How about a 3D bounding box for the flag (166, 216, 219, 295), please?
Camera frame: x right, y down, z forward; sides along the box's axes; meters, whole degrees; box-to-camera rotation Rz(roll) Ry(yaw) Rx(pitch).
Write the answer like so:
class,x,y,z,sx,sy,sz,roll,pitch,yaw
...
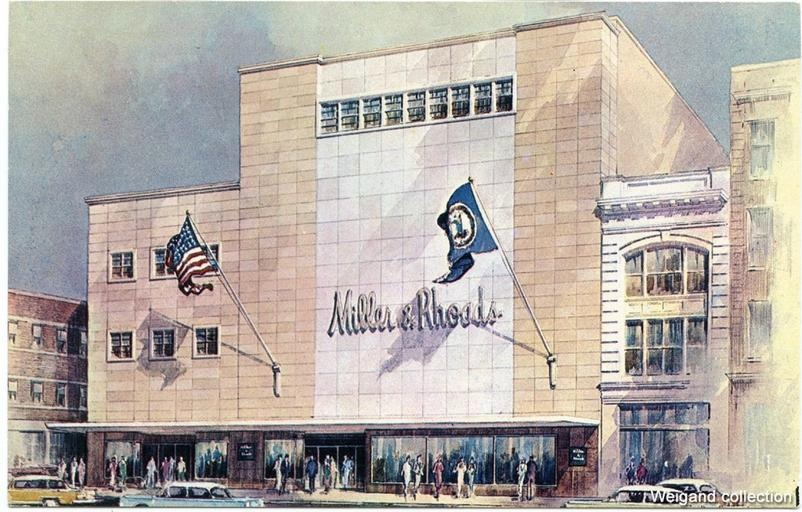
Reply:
class,x,y,z,sx,sy,sz,roll,pitch,yaw
flag,-14.727,-0.100,135.032,3.872,5.821,0.624,-4,11,13
